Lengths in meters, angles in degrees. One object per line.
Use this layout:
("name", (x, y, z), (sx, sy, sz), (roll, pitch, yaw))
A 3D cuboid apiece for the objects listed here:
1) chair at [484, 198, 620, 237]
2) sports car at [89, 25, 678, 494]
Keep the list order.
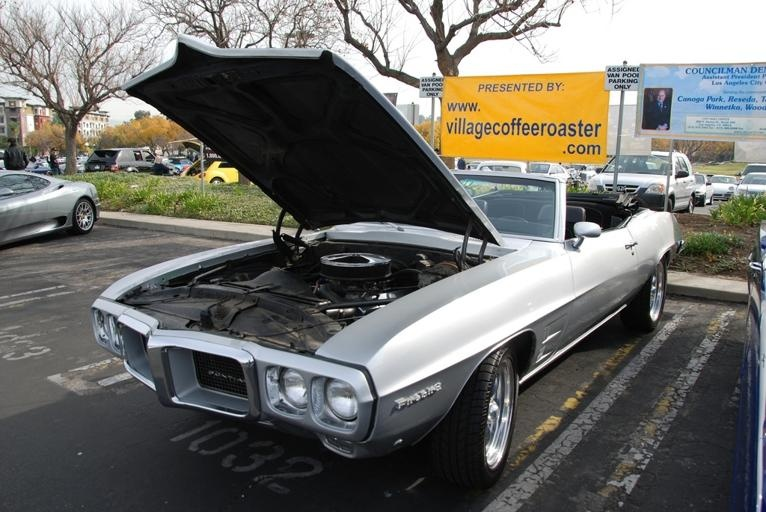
("chair", (1.754, -0.440, 4.641), (1.159, 0.405, 0.804), (-6, 11, -40))
("sports car", (0.500, -0.119, 4.266), (2.670, 2.200, 4.803), (5, 11, 40))
